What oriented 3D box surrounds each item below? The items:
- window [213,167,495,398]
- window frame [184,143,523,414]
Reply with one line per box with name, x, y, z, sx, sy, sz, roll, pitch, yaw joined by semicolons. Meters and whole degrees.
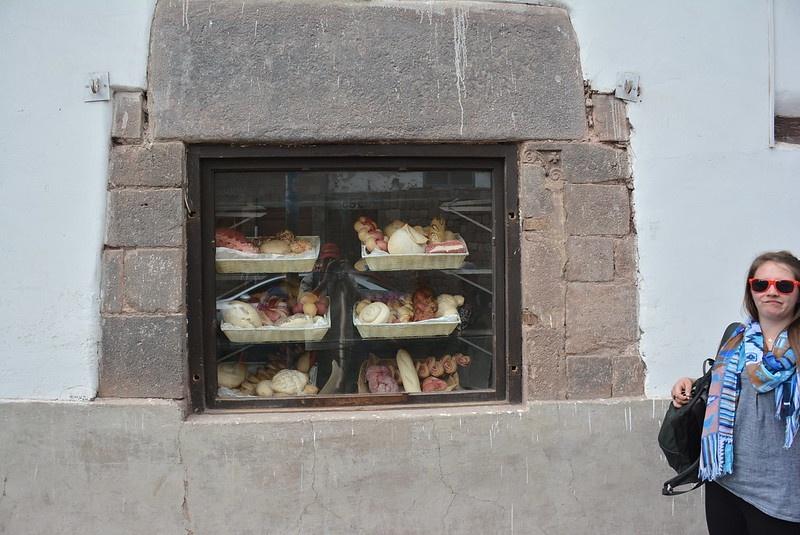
window;-0.377;0.172;8.112;1.983;1.836;0.482;1;2;-1
window frame;-0.377;0.075;7.787;2.090;1.521;0.083;0;0;-3
